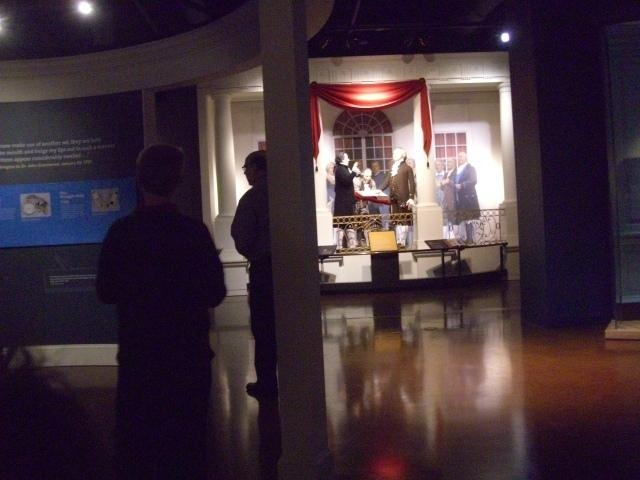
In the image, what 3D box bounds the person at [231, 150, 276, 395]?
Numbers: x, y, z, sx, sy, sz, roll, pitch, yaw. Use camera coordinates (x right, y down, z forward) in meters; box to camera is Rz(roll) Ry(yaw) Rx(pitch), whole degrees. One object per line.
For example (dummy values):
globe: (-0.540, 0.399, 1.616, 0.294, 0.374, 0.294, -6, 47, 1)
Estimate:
person: (-0.473, 0.295, 3.979, 0.253, 1.884, 0.505, -3, 3, -29)
